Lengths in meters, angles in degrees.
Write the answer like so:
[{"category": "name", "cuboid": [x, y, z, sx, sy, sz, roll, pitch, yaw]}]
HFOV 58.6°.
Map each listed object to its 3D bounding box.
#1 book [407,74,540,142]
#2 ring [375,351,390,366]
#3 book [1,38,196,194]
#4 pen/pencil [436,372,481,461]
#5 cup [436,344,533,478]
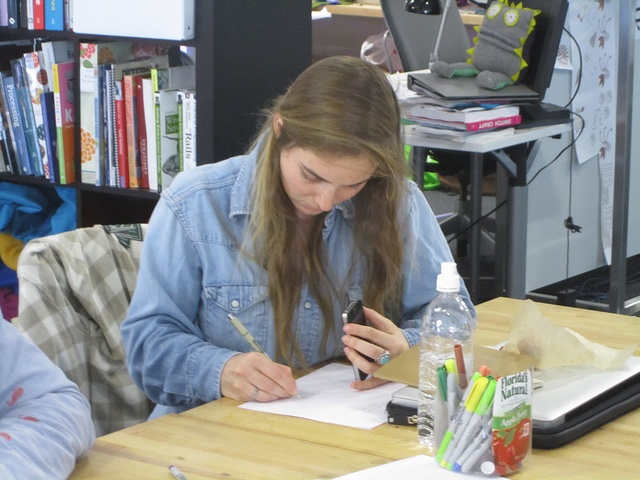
[{"category": "book", "cuboid": [0.622, -0.576, 2.230, 0.353, 0.125, 0.337, -15, 28, -36]}, {"category": "ring", "cuboid": [0.135, 0.253, 1.223, 0.019, 0.017, 0.033, 32, 47, 0]}, {"category": "book", "cuboid": [-0.771, -0.386, 2.331, 0.537, 0.726, 0.741, 8, 12, 22]}, {"category": "pen/pencil", "cuboid": [0.211, 0.268, 0.864, 0.022, 0.137, 0.024, 13, -15, 48]}, {"category": "cup", "cuboid": [0.245, 0.256, 0.900, 0.130, 0.183, 0.059, 0, -2, -5]}]
